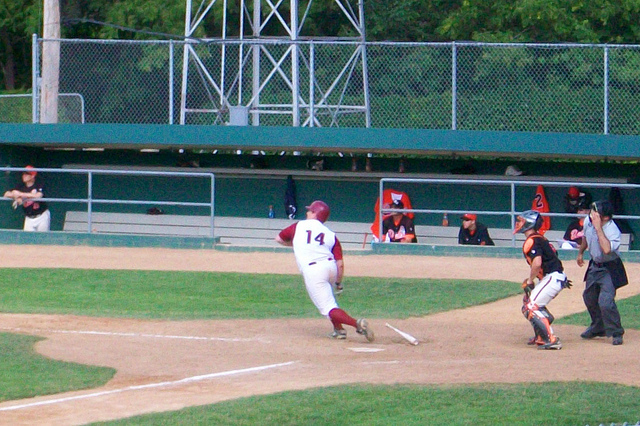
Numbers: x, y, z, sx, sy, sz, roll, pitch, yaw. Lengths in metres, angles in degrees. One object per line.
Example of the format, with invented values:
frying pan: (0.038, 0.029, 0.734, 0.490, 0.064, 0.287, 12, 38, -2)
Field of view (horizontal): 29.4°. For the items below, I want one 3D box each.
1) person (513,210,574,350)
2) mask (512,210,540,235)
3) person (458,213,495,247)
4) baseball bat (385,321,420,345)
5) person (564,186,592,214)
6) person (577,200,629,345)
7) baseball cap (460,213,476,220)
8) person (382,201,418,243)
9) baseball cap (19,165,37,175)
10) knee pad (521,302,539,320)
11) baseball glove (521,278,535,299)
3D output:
person: (4.537, 1.431, 25.313, 0.951, 2.853, 0.582, -2, 2, 10)
mask: (4.259, 0.228, 25.637, 0.486, 0.485, 0.384, 14, -5, 21)
person: (3.926, 0.481, 31.151, 0.854, 0.817, 0.581, -2, 2, 6)
baseball bat: (1.727, 2.621, 25.886, 0.672, 0.113, 0.112, 27, -5, 21)
person: (6.780, -0.378, 32.515, 0.505, 0.864, 0.439, 9, 12, 22)
person: (5.875, 1.287, 25.429, 0.864, 2.997, 0.450, -2, 2, 11)
baseball cap: (3.750, 0.134, 31.061, 0.350, 0.180, 0.392, -2, 2, 8)
person: (1.979, 0.362, 31.452, 0.880, 1.311, 0.787, 4, 16, 27)
baseball cap: (-7.724, -1.050, 32.492, 0.283, 0.385, 0.391, 9, 1, 14)
knee pad: (4.310, 2.073, 25.327, 0.366, 0.365, 0.142, -1, 2, 39)
baseball glove: (4.309, 1.623, 25.429, 0.244, 0.395, 0.215, -2, 2, 8)
